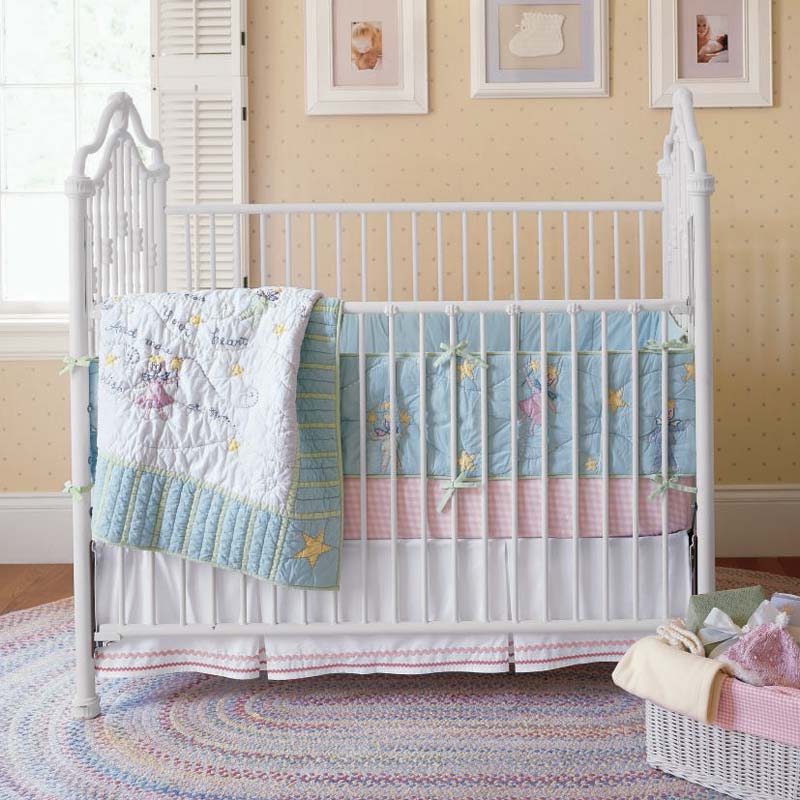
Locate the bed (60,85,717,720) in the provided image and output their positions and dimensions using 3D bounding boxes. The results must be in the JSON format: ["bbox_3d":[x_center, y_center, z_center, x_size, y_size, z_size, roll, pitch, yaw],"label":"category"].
[{"bbox_3d":[-0.010,0.010,2.808,1.292,1.476,0.861,-1,8,1],"label":"bed"}]
